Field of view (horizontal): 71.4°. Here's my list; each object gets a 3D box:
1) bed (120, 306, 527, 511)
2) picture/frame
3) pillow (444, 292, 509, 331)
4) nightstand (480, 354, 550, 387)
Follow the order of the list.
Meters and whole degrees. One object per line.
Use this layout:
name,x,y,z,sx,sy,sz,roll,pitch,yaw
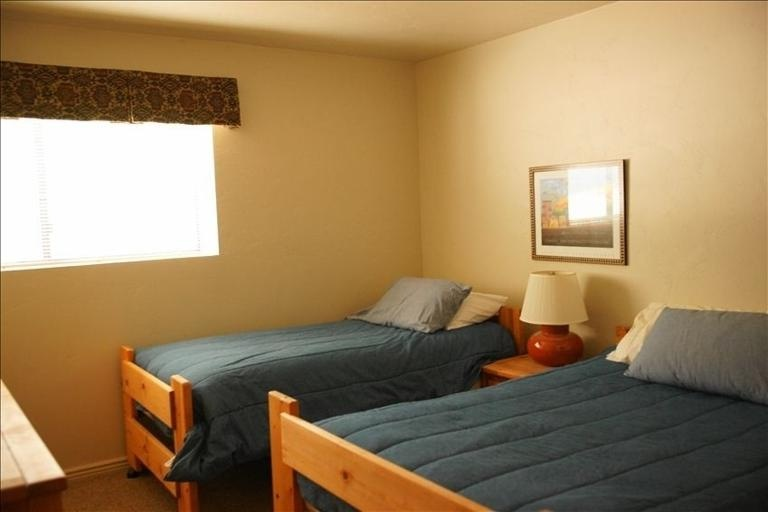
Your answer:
bed,-0.445,0.828,3.694,2.028,0.707,1.246,-3,3,-25
picture/frame,1.452,-0.333,3.936,0.036,0.765,0.863,-6,5,-44
pillow,0.746,0.442,4.337,0.415,0.095,0.387,-27,14,-40
nightstand,0.946,0.807,3.885,0.314,0.287,0.315,-4,5,-33
